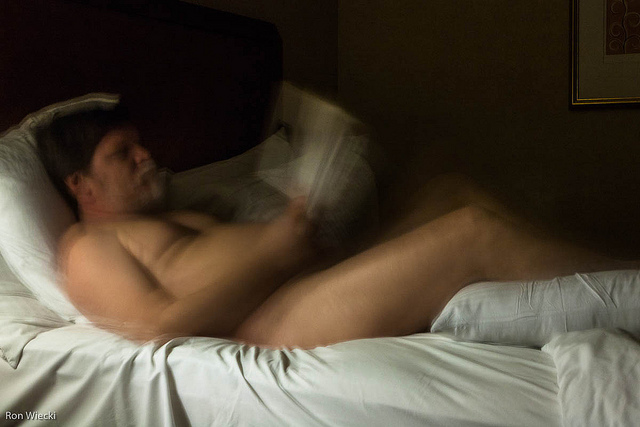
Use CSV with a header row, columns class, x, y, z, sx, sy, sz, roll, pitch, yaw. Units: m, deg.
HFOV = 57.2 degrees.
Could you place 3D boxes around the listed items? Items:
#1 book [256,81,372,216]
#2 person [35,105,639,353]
class,x,y,z,sx,sy,sz,roll,pitch,yaw
book,0.004,-0.097,0.909,0.185,0.187,0.046,34,13,22
person,0.020,-0.011,1.030,0.825,0.477,0.391,-9,3,11
